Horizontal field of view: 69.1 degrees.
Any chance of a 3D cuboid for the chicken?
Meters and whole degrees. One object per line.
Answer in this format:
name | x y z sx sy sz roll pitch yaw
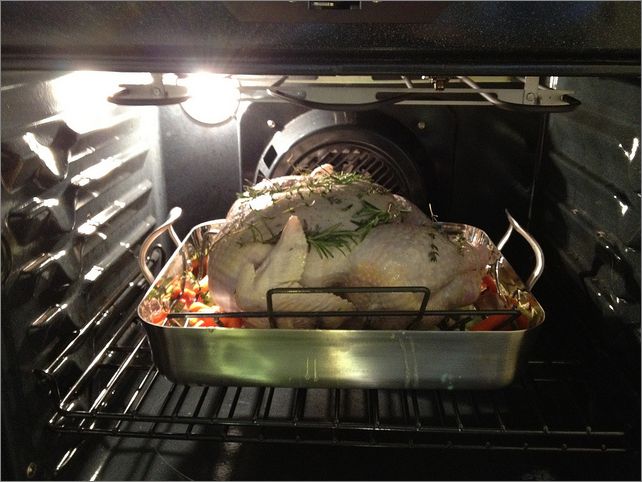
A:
chicken | 0.055 0.042 1.170 0.551 0.437 0.226 0 -53 6
